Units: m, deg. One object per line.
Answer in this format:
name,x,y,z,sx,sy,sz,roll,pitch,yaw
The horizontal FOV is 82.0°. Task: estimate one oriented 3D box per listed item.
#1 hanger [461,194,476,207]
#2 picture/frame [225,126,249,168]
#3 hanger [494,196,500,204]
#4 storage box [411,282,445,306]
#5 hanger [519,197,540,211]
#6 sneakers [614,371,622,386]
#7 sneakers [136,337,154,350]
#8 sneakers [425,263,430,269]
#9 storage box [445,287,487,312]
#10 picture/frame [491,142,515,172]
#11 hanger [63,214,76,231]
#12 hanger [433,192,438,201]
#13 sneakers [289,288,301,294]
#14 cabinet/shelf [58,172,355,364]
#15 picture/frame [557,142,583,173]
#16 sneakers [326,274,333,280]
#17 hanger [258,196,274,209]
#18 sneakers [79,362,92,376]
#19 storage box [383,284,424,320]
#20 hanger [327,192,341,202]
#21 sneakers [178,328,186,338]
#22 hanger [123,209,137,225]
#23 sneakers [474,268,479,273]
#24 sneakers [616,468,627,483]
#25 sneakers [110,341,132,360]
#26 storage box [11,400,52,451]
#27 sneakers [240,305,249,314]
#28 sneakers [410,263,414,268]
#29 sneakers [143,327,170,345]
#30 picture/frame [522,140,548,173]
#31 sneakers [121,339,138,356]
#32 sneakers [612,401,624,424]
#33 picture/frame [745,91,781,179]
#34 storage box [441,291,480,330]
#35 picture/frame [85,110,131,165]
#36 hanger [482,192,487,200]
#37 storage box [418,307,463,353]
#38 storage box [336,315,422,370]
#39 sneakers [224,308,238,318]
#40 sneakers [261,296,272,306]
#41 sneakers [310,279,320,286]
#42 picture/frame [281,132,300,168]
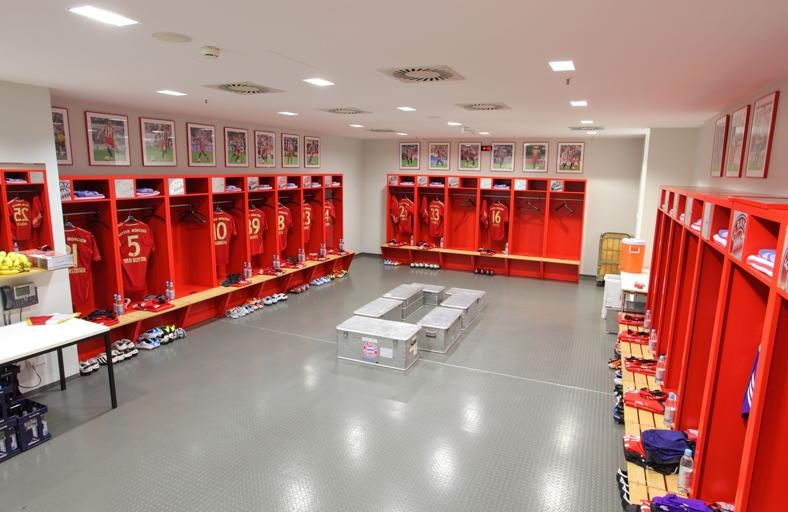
hanger,2.101,-1.575,12.689,0.369,0.240,0.016,7,25,21
picture/frame,-3.400,-2.343,9.759,0.081,0.830,0.680,7,14,22
hanger,2.796,-1.536,12.312,0.214,0.229,0.145,4,18,16
storage box,0.833,0.782,9.600,0.622,0.287,0.444,5,9,31
hanger,3.645,-1.410,12.089,0.398,0.230,0.019,6,23,22
sneakers,3.214,1.745,6.474,0.129,0.071,0.216,3,23,20
sneakers,-3.974,1.402,7.279,0.281,0.120,0.134,-4,19,-21
sneakers,0.928,0.276,12.765,0.109,0.059,0.173,4,14,11
storage box,1.470,0.814,9.147,0.574,0.150,0.597,4,9,28
picture/frame,2.950,-2.698,12.169,0.780,0.874,0.049,5,11,24
hanger,-4.975,-0.513,6.918,0.312,0.162,0.085,2,1,27
hanger,1.166,-1.693,12.918,0.210,0.212,0.214,0,18,3
sneakers,-2.224,0.782,10.198,0.310,0.134,0.102,2,4,9
cabinet/shelf,-3.349,-0.258,8.896,1.170,2.670,5.670,10,15,34
picture/frame,4.522,-2.543,11.551,0.806,0.908,0.061,3,8,25
sneakers,-1.615,0.516,11.354,0.125,0.163,0.396,-2,0,-20
hanger,-2.772,-1.175,9.847,0.330,0.294,0.079,-2,1,29
sneakers,-4.454,1.621,6.538,0.200,0.057,0.122,17,19,28
storage box,0.160,0.812,9.076,0.547,0.394,0.893,3,10,22
hanger,-1.590,-1.565,11.941,0.320,0.282,0.075,3,-3,2
sneakers,-3.617,1.307,7.704,0.123,0.055,0.187,-1,10,-24
hanger,-4.482,-0.670,7.660,0.279,0.286,0.160,-3,6,-22
sneakers,2.241,0.397,12.209,0.085,0.116,0.118,5,4,35
sneakers,2.416,2.306,4.773,0.080,0.060,0.130,6,17,28
sneakers,-4.213,1.444,7.007,0.429,0.176,0.166,8,12,38
storage box,-4.207,1.909,5.247,0.302,0.477,0.366,-10,17,-41
sneakers,-2.915,1.044,8.814,0.135,0.157,0.385,-3,5,-26
sneakers,0.511,0.263,12.872,0.116,0.107,0.081,2,3,23
sneakers,-3.874,1.307,7.435,0.336,0.115,0.238,9,12,32
picture/frame,3.728,-2.638,11.856,0.834,0.946,0.064,4,12,23
sneakers,-4.153,1.424,7.067,0.338,0.138,0.123,12,16,37
sneakers,2.823,1.982,5.734,0.200,0.238,0.072,3,-16,-44
picture/frame,4.101,-1.332,5.075,0.072,0.904,0.799,7,14,24
storage box,1.240,0.899,8.539,0.573,0.218,0.945,3,11,19
picture/frame,-4.721,-1.950,7.402,0.055,0.996,0.928,2,9,25
hanger,2.471,-1.650,12.330,0.214,0.186,0.049,2,0,-12
storage box,0.769,1.076,7.495,0.573,0.467,1.000,7,14,23
storage box,-0.176,1.051,7.015,1.176,0.508,0.700,6,15,22
sneakers,-3.113,1.091,8.647,0.179,0.083,0.236,-1,6,-20
sneakers,-2.627,0.926,9.429,0.135,0.085,0.206,5,16,10
sneakers,-1.876,0.634,10.831,0.195,0.079,0.123,1,12,20
picture/frame,-2.560,-2.636,11.116,0.075,0.927,0.870,6,9,24
